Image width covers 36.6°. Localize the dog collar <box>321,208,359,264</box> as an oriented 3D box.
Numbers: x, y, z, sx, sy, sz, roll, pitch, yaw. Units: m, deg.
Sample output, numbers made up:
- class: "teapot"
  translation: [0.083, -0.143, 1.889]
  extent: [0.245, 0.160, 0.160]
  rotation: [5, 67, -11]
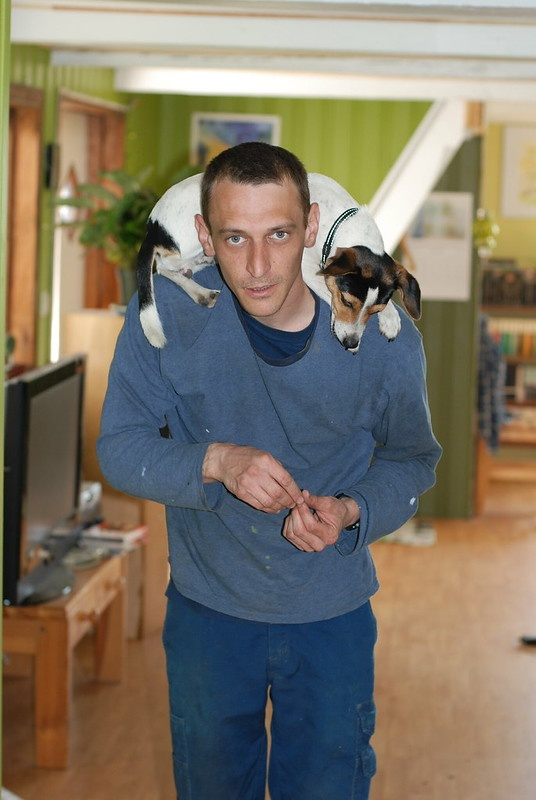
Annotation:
- class: "dog collar"
  translation: [0.083, -0.210, 1.046]
  extent: [0.018, 0.066, 0.052]
  rotation: [18, 30, 18]
